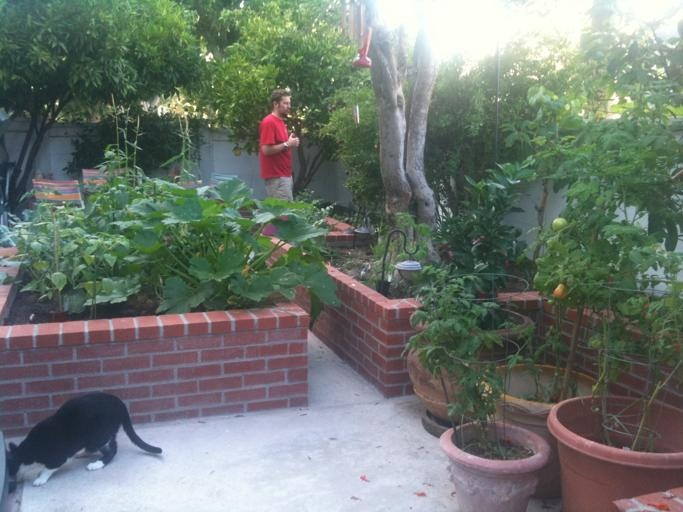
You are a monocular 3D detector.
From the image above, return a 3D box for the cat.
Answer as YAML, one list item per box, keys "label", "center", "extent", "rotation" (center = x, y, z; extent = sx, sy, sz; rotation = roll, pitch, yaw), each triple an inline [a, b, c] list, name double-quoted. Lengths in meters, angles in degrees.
- label: "cat"
  center: [-1.550, 1.070, 3.586]
  extent: [0.974, 0.523, 0.325]
  rotation: [-16, -1, -31]
